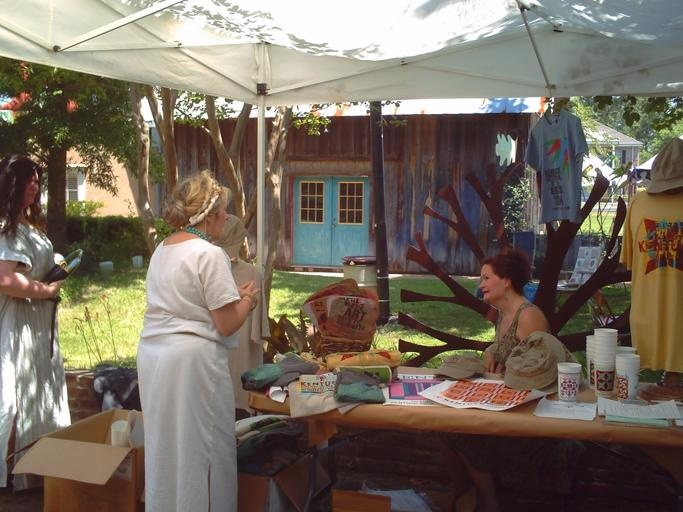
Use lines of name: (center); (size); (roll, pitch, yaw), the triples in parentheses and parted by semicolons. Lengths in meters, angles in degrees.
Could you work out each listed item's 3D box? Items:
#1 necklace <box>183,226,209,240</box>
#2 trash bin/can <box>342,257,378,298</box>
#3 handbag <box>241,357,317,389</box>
necklace: (-0.877, -0.143, 3.803); (0.103, 0.043, 0.079); (31, 0, -33)
trash bin/can: (0.325, 0.354, 11.791); (0.561, 0.640, 0.589); (0, 2, 17)
handbag: (-0.421, 0.775, 4.177); (0.263, 0.094, 0.260); (-8, 3, -44)
